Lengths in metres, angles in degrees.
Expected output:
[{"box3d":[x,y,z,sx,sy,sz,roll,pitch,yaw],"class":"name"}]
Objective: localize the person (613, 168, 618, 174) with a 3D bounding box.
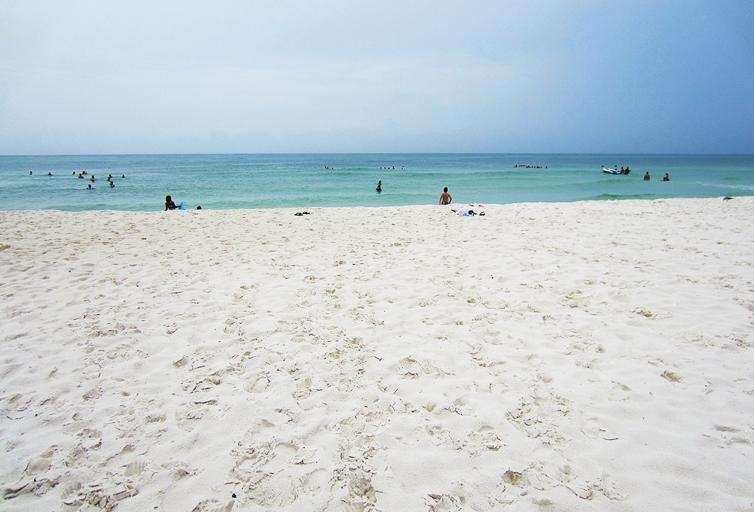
[{"box3d":[18.973,-6.697,43.286,0.393,0.360,1.529,5,11,23],"class":"person"}]
